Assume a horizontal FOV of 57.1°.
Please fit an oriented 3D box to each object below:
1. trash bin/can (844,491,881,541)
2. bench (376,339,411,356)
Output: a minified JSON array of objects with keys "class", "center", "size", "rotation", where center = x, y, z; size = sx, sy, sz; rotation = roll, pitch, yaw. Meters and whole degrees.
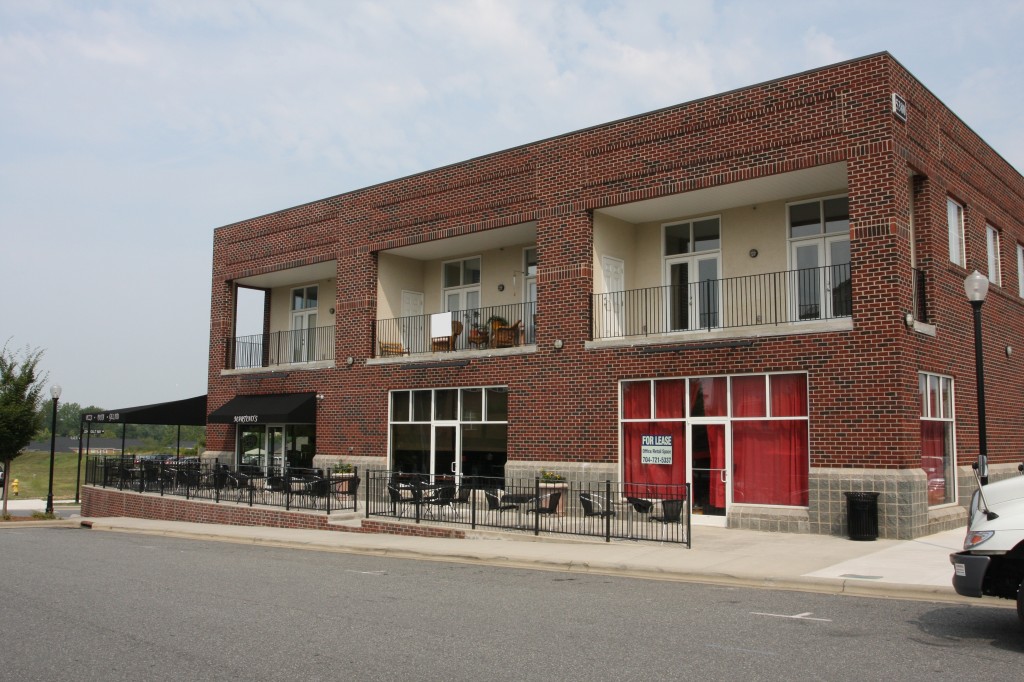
[{"class":"trash bin/can","center":[8.367,4.152,22.382],"size":[0.786,1.135,0.495],"rotation":[-1,-12,2]},{"class":"bench","center":[-4.056,0.246,32.489],"size":[1.085,0.792,1.453],"rotation":[1,-12,-8]}]
